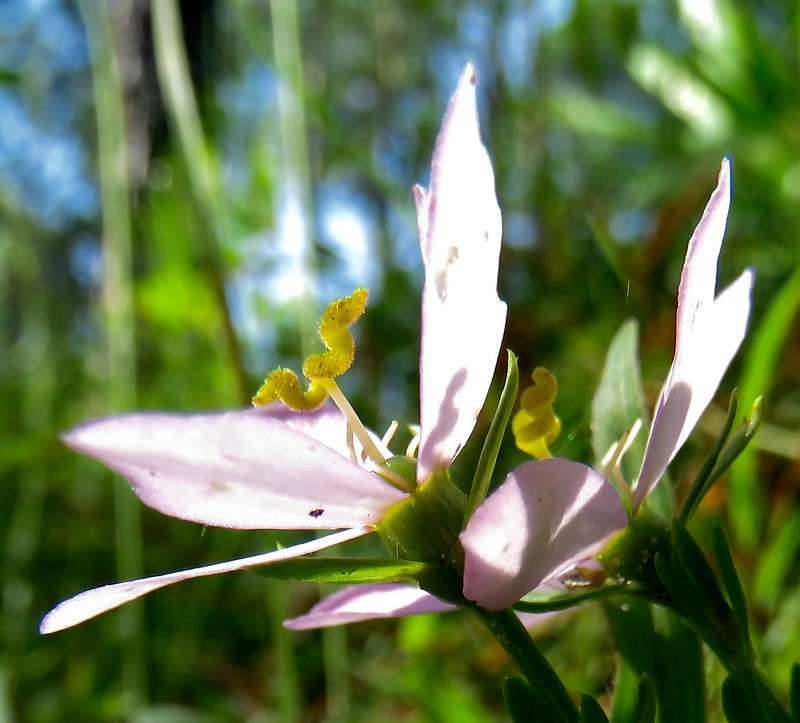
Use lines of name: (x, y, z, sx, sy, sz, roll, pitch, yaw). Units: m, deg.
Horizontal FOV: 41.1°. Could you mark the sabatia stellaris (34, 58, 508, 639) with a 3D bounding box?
sabatia stellaris: (-0.077, -0.011, 0.586, 0.251, 0.269, 0.181, -11, 9, -37)
